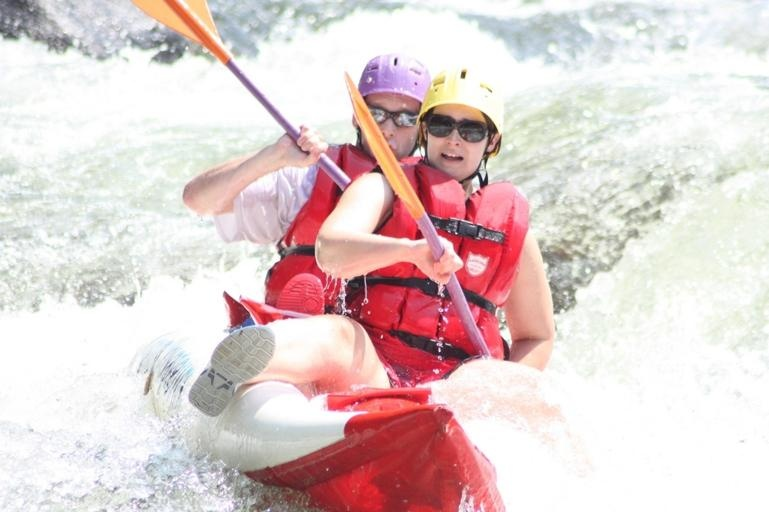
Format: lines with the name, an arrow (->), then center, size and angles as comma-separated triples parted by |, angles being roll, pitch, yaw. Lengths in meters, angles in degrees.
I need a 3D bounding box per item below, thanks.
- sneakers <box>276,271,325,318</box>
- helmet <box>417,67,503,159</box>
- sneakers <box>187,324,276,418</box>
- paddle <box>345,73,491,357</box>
sneakers -> -0.431, 0.208, 4.140 | 0.229, 0.132, 0.207 | 2, 51, 10
helmet -> 0.438, -0.791, 4.471 | 0.321, 0.412, 0.315 | 12, 47, 12
sneakers -> -0.704, 0.505, 3.882 | 0.515, 0.214, 0.252 | -42, 99, -2
paddle -> 0.194, -0.161, 4.289 | 0.227, 0.114, 1.906 | -35, 71, 11
